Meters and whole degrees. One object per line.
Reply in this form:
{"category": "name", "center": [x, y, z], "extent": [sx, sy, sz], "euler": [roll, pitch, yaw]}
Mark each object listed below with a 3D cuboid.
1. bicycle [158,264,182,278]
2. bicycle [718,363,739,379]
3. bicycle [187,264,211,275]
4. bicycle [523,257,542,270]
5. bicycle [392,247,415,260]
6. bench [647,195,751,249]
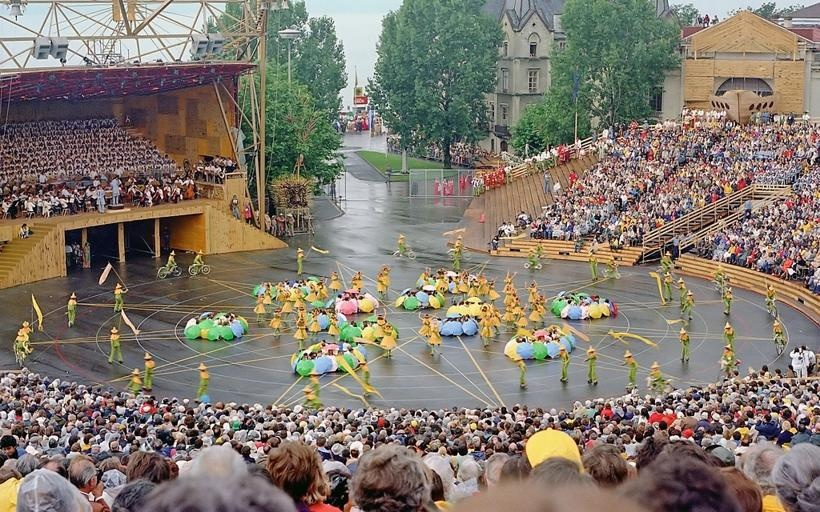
{"category": "bicycle", "center": [-16.993, 1.256, 91.075], "extent": [1.665, 0.739, 0.914], "euler": [-8, -32, -16]}
{"category": "bicycle", "center": [18.166, 6.588, 74.361], "extent": [1.053, 0.323, 0.976], "euler": [-3, 7, -1]}
{"category": "bicycle", "center": [-14.986, 0.931, 91.784], "extent": [1.469, 0.799, 0.740], "euler": [-6, 19, -41]}
{"category": "bicycle", "center": [8.988, 0.688, 92.798], "extent": [1.822, 0.912, 0.584], "euler": [1, 7, -1]}
{"category": "bicycle", "center": [-0.541, -0.062, 95.623], "extent": [1.611, 0.860, 0.761], "euler": [-2, 31, -3]}
{"category": "bench", "center": [21.048, -2.251, 93.853], "extent": [5.165, 0.844, 0.832], "euler": [-26, 40, -4]}
